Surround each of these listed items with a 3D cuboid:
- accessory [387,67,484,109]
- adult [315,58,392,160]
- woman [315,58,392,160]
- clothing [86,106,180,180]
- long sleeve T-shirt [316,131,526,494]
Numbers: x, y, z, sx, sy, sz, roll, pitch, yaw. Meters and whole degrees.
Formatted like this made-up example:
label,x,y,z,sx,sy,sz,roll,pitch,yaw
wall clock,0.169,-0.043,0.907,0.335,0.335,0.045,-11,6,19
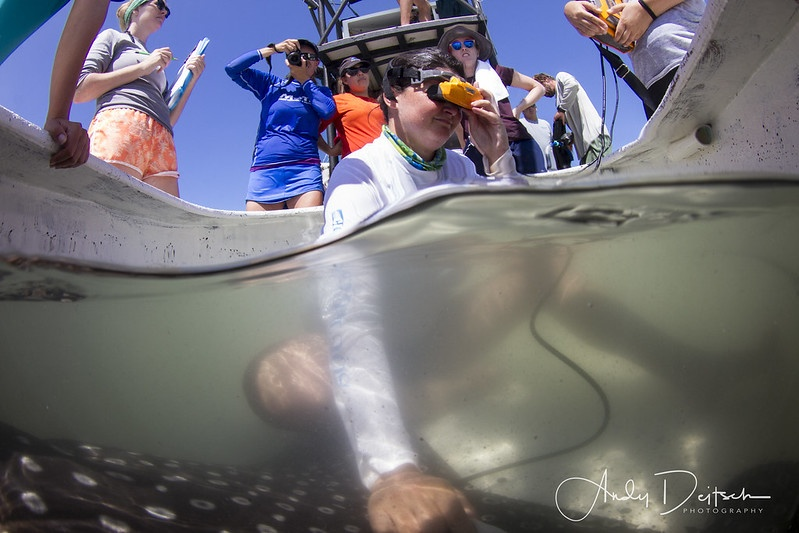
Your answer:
label,x,y,z,sx,sy,sz,roll,pitch,yaw
accessory,0.134,-0.768,1.938,0.286,0.128,0.234,24,5,13
adult,-0.310,-1.187,3.319,0.604,0.979,0.332,-4,-10,-15
woman,-0.314,-1.168,3.310,0.605,0.972,0.346,-5,-9,-14
clothing,-1.485,-0.685,2.409,0.409,0.444,0.345,-22,23,-25
long sleeve T-shirt,-0.100,0.094,1.788,0.853,1.186,0.309,-14,-11,-4
